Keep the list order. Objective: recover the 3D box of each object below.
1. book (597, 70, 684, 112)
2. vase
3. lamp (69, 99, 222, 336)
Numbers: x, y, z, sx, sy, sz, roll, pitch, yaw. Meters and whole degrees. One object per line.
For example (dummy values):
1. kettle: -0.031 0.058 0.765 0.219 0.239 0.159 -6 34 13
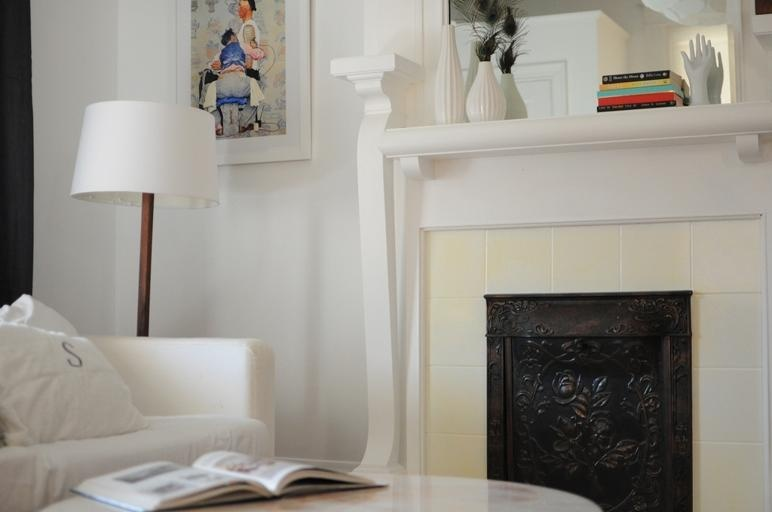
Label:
1. book: 1.112 -0.696 2.949 0.389 0.173 0.156 1 2 10
2. vase: 0.379 -0.822 3.153 0.342 0.465 0.207 1 2 11
3. lamp: -1.144 -0.174 3.255 0.655 1.078 0.456 0 2 -14
